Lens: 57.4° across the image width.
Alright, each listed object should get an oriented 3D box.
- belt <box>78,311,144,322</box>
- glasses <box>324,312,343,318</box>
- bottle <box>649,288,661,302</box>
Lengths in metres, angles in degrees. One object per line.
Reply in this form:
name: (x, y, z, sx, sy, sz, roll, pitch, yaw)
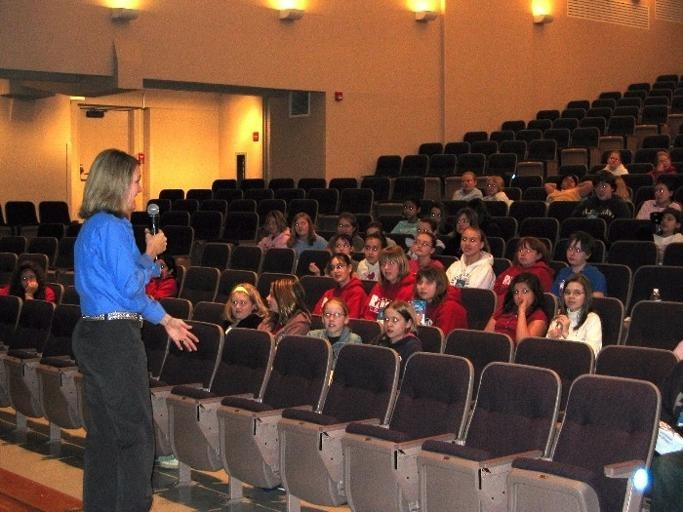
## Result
belt: (-0.899, 0.239, 2.454, 0.216, 0.046, 0.105, 3, 2, -22)
glasses: (-0.043, 0.349, 3.682, 0.094, 0.035, 0.028, 3, 2, -7)
bottle: (2.265, 0.287, 4.501, 0.055, 0.080, 0.054, 0, 14, 0)
